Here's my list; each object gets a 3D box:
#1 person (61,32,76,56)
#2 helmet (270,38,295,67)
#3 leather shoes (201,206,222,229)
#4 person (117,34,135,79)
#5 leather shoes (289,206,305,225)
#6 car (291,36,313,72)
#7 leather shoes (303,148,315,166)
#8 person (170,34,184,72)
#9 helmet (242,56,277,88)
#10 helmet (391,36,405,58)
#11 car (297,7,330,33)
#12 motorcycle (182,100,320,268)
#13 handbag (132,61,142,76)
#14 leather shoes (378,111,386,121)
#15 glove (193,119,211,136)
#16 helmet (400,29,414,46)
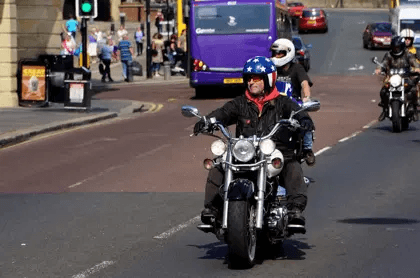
[{"bbox_3d":[-7.313,-4.587,32.440,0.673,1.618,0.666,6,17,4],"label":"person"},{"bbox_3d":[1.275,-1.551,11.190,0.509,0.473,0.370,-17,16,-36],"label":"helmet"},{"bbox_3d":[0.019,1.035,8.335,0.162,0.184,0.304,1,5,4],"label":"leather shoes"},{"bbox_3d":[-4.432,-4.235,33.387,0.682,2.357,1.473,-2,10,-8],"label":"person"},{"bbox_3d":[1.169,1.039,8.723,0.203,0.288,0.633,-9,-4,7],"label":"leather shoes"},{"bbox_3d":[5.264,-4.765,35.734,1.855,1.415,3.781,1,16,7],"label":"car"},{"bbox_3d":[1.775,0.323,11.463,0.128,0.432,0.170,-7,-6,26],"label":"leather shoes"},{"bbox_3d":[-1.940,-4.930,36.865,0.788,0.948,2.560,4,-1,-1],"label":"person"},{"bbox_3d":[0.722,-0.971,9.004,0.435,0.487,0.585,1,18,20],"label":"helmet"},{"bbox_3d":[4.962,-2.426,16.636,0.351,0.520,0.503,0,15,19],"label":"helmet"},{"bbox_3d":[8.997,-10.455,56.171,2.357,1.971,2.107,5,12,27],"label":"car"},{"bbox_3d":[0.600,0.759,9.064,1.319,1.570,2.272,-1,1,15],"label":"motorcycle"},{"bbox_3d":[-4.136,-3.989,35.808,0.470,0.814,0.758,-3,-18,4],"label":"handbag"},{"bbox_3d":[4.769,-0.627,17.646,0.092,0.293,0.121,17,-21,48],"label":"leather shoes"},{"bbox_3d":[-0.109,-0.180,8.627,0.141,0.183,0.299,-21,7,42],"label":"glove"},{"bbox_3d":[5.386,-2.800,17.458,0.369,0.474,0.481,0,1,3],"label":"helmet"}]
